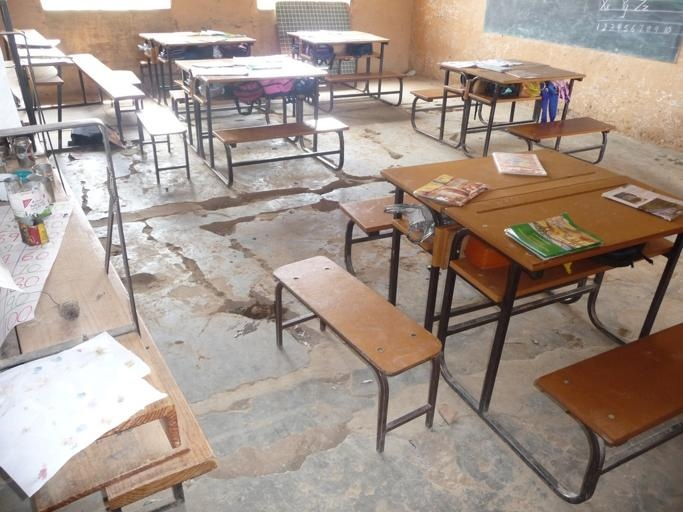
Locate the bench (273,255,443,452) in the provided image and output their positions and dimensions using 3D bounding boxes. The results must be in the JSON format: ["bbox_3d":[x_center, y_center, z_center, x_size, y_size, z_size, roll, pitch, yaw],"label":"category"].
[{"bbox_3d":[0.060,0.524,2.567,0.392,0.438,1.034,-27,42,-34],"label":"bench"}]

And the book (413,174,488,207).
[{"bbox_3d":[0.567,-0.340,2.658,0.270,0.047,0.255,23,35,39],"label":"book"}]

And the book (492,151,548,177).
[{"bbox_3d":[1.053,-0.514,3.023,0.287,0.048,0.223,-1,30,-6],"label":"book"}]

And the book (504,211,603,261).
[{"bbox_3d":[0.959,-0.087,2.306,0.424,0.077,0.289,-12,27,-23],"label":"book"}]
